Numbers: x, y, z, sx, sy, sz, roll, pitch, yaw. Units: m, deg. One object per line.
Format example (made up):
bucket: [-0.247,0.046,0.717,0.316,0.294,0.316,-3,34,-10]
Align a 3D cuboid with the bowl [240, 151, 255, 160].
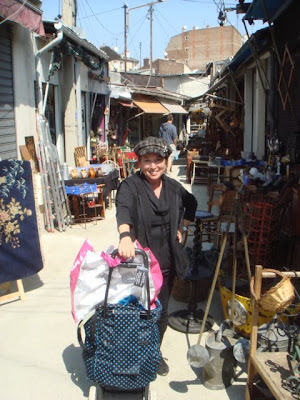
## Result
bowl: [2.213,-0.998,7.884,0.221,0.182,0.243,0,2,0]

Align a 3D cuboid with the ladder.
ladder: [-1.782,-0.506,6.348,0.503,2.091,0.716,-2,9,-10]

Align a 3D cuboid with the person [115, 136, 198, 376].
person: [0.051,0.269,2.165,0.446,1.476,0.557,0,2,-2]

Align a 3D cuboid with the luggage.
luggage: [-0.148,0.656,1.660,0.413,0.777,0.315,-1,9,-2]

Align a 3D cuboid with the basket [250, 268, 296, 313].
basket: [0.600,0.438,1.687,0.143,0.181,0.292,-3,10,-13]

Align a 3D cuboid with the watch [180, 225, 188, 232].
watch: [0.228,0.197,2.342,0.045,0.018,0.048,-1,6,-21]

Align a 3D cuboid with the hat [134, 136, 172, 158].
hat: [0.015,-0.333,2.197,0.203,0.136,0.240,5,11,34]
